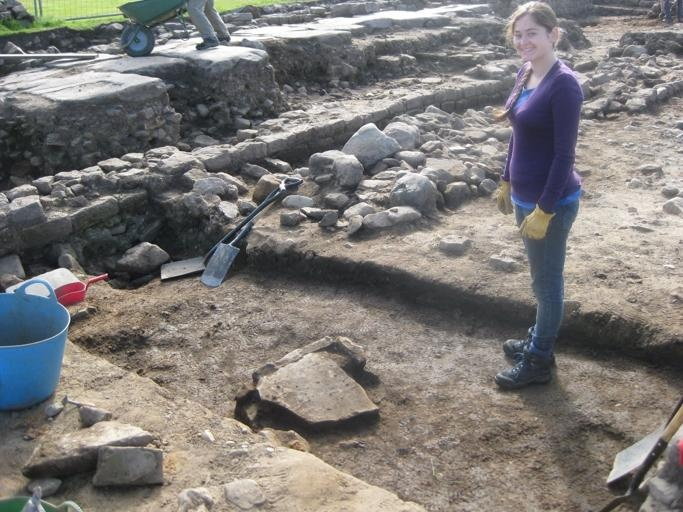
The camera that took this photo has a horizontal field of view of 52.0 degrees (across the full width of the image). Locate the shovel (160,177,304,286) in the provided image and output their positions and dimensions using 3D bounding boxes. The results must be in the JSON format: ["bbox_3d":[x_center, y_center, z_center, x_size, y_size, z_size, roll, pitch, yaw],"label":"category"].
[{"bbox_3d":[-0.915,-0.207,6.711,0.552,0.290,1.689,15,39,34],"label":"shovel"}]

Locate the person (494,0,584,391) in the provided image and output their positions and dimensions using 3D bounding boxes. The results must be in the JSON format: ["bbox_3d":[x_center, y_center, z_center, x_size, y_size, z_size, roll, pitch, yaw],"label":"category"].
[{"bbox_3d":[1.326,-0.358,4.784,0.538,2.546,0.856,0,28,12],"label":"person"}]

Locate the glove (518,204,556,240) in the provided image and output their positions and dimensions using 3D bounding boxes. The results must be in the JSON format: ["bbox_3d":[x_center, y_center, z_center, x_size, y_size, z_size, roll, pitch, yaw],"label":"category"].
[{"bbox_3d":[1.251,-0.200,4.594,0.096,0.220,0.158,-2,62,-33],"label":"glove"}]
